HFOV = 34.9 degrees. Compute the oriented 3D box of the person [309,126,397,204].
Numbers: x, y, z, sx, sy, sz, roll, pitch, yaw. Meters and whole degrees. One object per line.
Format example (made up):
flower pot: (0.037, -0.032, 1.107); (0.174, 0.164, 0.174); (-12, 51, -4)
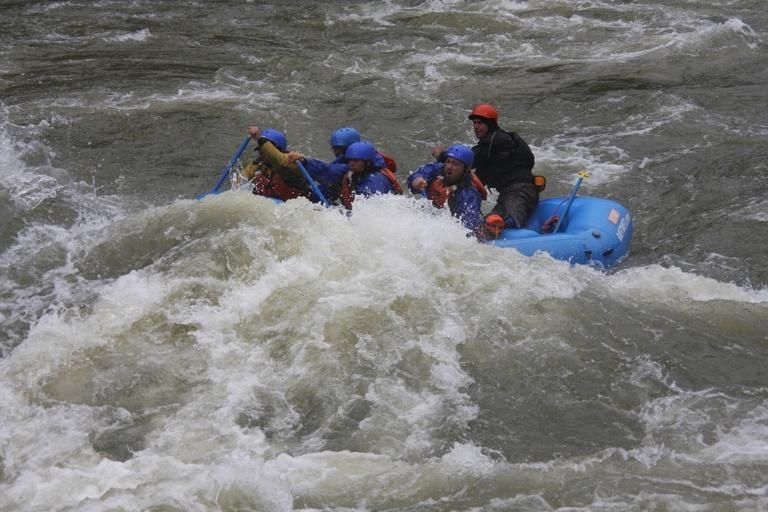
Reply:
person: (-0.919, -1.775, 22.879); (1.588, 1.427, 0.571); (-1, -6, -12)
